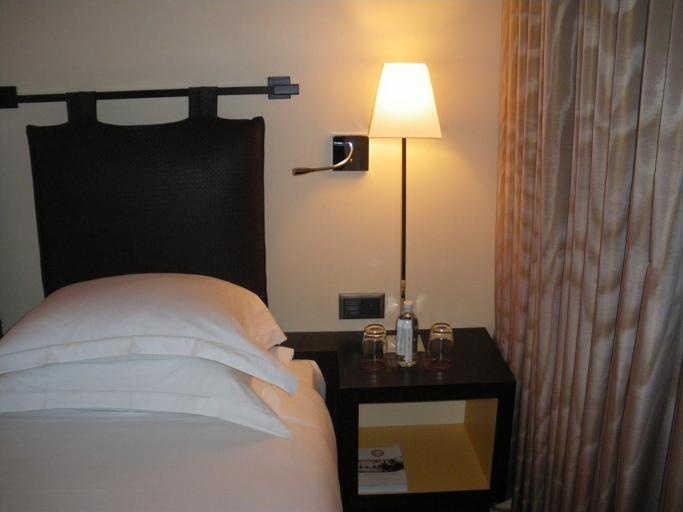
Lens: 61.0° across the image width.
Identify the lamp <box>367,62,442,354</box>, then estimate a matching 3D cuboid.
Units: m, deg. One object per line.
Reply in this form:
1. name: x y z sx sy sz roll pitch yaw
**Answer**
1. lamp: 0.257 -0.296 2.413 0.273 1.028 0.308 0 8 5
